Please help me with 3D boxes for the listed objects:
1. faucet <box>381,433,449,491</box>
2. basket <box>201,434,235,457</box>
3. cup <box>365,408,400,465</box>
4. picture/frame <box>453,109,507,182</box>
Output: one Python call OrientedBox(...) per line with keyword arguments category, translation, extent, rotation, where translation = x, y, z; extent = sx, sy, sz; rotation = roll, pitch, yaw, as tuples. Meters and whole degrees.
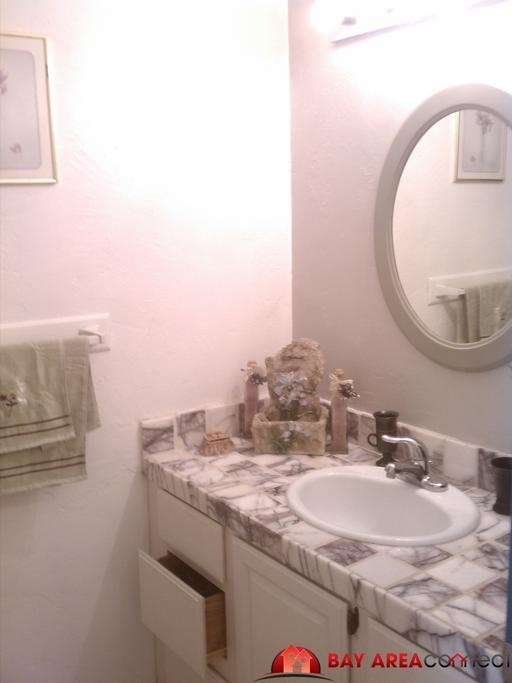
OrientedBox(category="faucet", translation=(0.364, 0.259, 1.154), extent=(0.068, 0.125, 0.199), rotation=(-2, 4, -33))
OrientedBox(category="basket", translation=(-0.134, 0.304, 1.512), extent=(0.122, 0.055, 0.083), rotation=(-2, 9, 31))
OrientedBox(category="cup", translation=(0.332, 0.256, 1.399), extent=(0.109, 0.199, 0.101), rotation=(-4, 4, 0))
OrientedBox(category="picture/frame", translation=(0.486, -0.422, 1.099), extent=(0.018, 0.208, 0.139), rotation=(-9, 16, -28))
